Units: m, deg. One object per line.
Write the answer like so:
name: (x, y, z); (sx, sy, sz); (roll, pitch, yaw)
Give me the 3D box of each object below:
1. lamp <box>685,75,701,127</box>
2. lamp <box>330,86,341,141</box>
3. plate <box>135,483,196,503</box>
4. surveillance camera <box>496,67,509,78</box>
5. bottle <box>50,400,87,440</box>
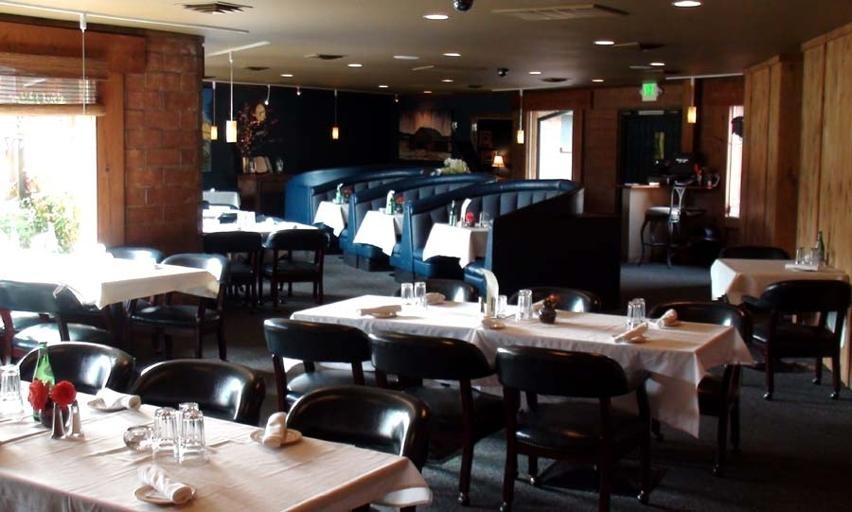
lamp: (4.667, -2.685, 11.083); (0.206, 0.803, 0.376); (2, 6, 24)
lamp: (-2.150, -3.340, 15.071); (0.225, 1.163, 0.420); (-2, 5, -8)
plate: (-0.976, 0.879, 2.357); (0.222, 0.068, 0.091); (0, 5, 14)
surveillance camera: (1.240, -2.982, 10.229); (0.180, 0.125, 0.176); (-5, 6, -38)
bottle: (-1.592, 0.721, 2.800); (0.177, 0.166, 0.080); (-1, 5, -1)
